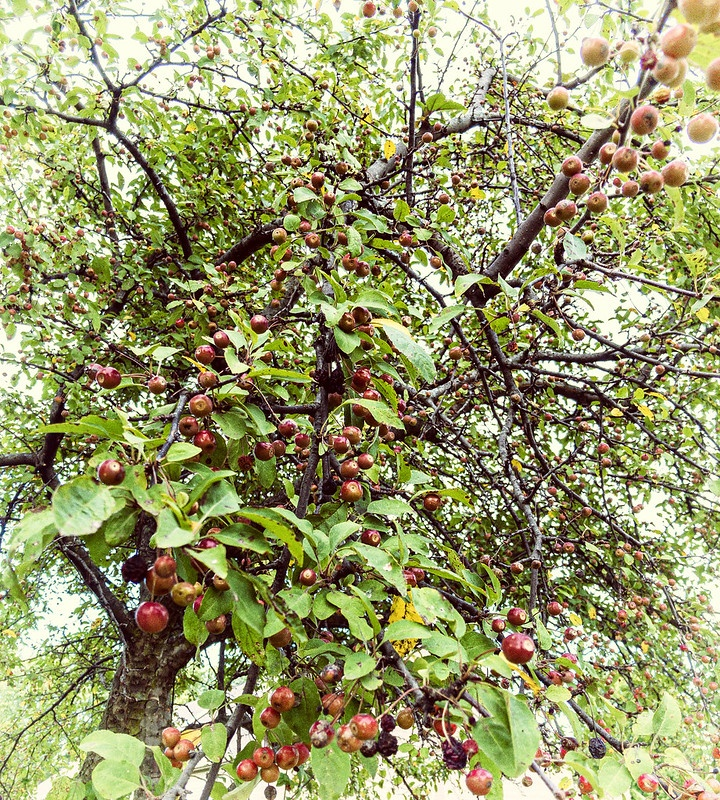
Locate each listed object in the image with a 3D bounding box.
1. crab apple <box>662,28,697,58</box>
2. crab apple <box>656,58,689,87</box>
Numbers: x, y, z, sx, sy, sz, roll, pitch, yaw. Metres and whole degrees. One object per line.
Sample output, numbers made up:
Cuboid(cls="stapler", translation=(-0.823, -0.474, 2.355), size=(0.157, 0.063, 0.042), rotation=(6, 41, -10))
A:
Cuboid(cls="crab apple", translation=(1.069, -1.205, 2.431), size=(0.111, 0.111, 0.051), rotation=(11, -13, -2))
Cuboid(cls="crab apple", translation=(1.084, -1.140, 2.525), size=(0.088, 0.057, 0.106), rotation=(5, 20, 7))
